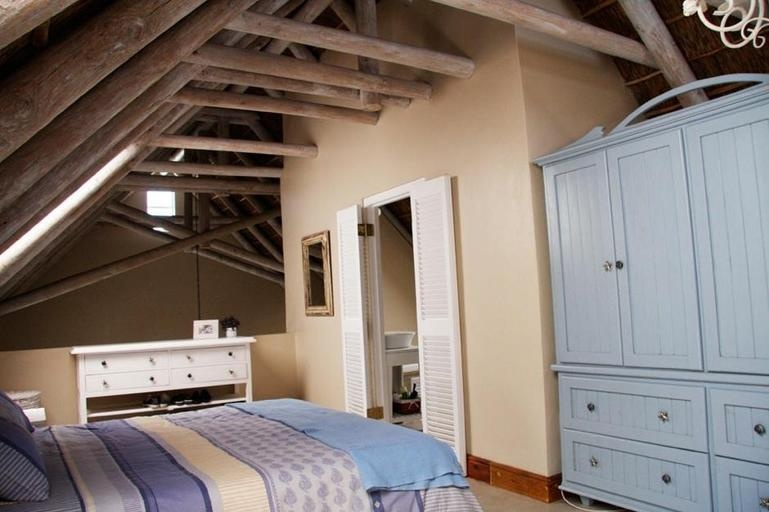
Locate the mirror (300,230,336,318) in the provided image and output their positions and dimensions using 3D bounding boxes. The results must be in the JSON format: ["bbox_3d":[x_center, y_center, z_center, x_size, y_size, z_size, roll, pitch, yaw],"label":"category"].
[{"bbox_3d":[-0.734,0.193,6.473,0.093,1.074,1.096,-3,2,-21],"label":"mirror"}]

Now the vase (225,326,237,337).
[{"bbox_3d":[-1.752,0.852,6.585,0.131,0.118,0.132,-2,-3,24],"label":"vase"}]
